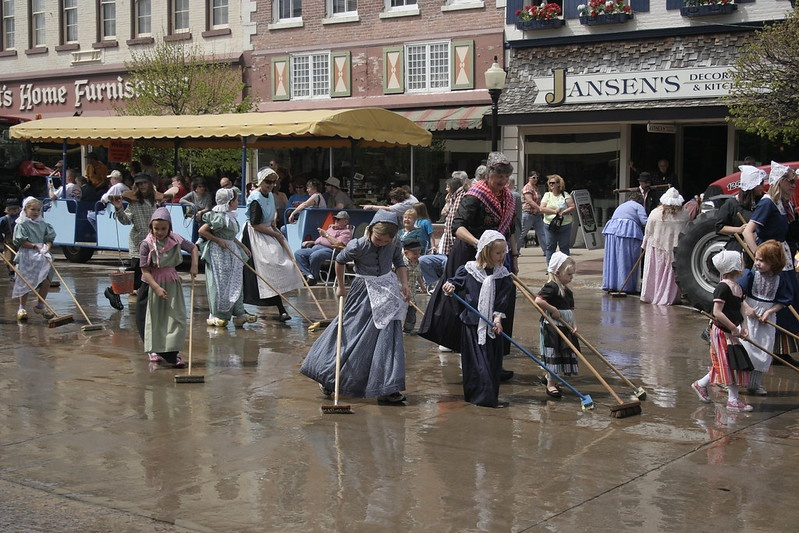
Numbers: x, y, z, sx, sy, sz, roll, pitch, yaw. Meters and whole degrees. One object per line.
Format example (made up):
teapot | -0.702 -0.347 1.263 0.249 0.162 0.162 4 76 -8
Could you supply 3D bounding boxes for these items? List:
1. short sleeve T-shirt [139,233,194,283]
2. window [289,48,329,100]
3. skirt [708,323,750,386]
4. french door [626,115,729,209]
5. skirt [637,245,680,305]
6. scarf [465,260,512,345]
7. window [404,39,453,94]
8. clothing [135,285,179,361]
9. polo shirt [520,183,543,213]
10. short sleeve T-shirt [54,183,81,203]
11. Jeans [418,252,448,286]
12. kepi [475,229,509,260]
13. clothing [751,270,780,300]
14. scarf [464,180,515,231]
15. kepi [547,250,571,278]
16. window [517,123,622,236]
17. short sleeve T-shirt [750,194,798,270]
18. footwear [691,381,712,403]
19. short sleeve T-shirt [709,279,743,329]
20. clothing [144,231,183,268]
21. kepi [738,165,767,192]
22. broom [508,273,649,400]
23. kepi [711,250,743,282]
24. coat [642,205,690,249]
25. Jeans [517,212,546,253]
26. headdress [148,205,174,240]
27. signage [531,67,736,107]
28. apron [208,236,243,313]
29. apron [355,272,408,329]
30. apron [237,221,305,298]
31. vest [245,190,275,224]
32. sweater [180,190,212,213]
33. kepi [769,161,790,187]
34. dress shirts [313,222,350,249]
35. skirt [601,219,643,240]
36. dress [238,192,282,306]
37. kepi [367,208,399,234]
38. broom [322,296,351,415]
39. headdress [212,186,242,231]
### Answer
short sleeve T-shirt | -2.878 -0.158 13.205 0.727 0.641 0.338 -5 -3 -26
window | -2.392 -5.306 28.959 1.335 1.211 0.063 2 5 31
skirt | 3.677 0.999 11.808 0.470 0.668 0.312 5 13 20
french door | 6.378 -2.824 25.481 3.052 2.626 1.545 0 0 23
skirt | 4.208 0.094 17.387 0.530 0.974 0.313 6 3 6
scarf | 0.980 0.364 11.888 0.543 0.841 0.386 -5 18 -34
window | 0.800 -5.187 27.037 1.600 1.427 0.157 1 4 34
clothing | -3.227 0.702 13.491 0.295 0.990 0.344 -9 1 2
polo shirt | 2.559 -1.335 20.695 0.526 0.692 0.749 -2 7 9
short sleeve T-shirt | -7.090 -1.602 23.041 0.700 0.371 0.704 -6 12 0
Jeans | 0.521 0.041 17.062 0.476 0.532 0.474 14 2 0
kepi | 0.981 -0.287 11.846 0.255 0.325 0.273 10 37 -43
clothing | 4.311 0.212 12.484 0.330 0.296 0.172 8 5 6
scarf | 1.110 -0.732 12.560 0.672 0.618 0.387 -6 8 -32
kepi | 1.772 -0.040 12.130 0.275 0.253 0.203 -3 7 -19
window | 4.564 -2.036 26.101 3.069 2.612 1.448 -1 0 23
short sleeve T-shirt | 4.716 -0.464 13.126 0.769 0.861 0.503 -11 17 -42
footwear | 3.386 1.419 11.950 0.132 0.309 0.112 -40 12 3
short sleeve T-shirt | 3.714 0.435 11.926 0.397 0.519 0.293 0 12 -1
clothing | -2.899 -0.205 13.135 0.494 0.441 0.283 -9 8 -22
kepi | 4.480 -1.138 13.498 0.282 0.268 0.369 -1 -7 -5
broom | 2.211 0.979 12.567 0.698 0.222 2.105 -20 28 4
kepi | 3.693 -0.027 12.059 0.341 0.263 0.283 -15 11 -1
coat | 4.347 -0.639 17.215 0.713 0.641 0.378 8 -8 19
Jeans | 2.586 -0.649 20.816 0.618 0.912 0.293 7 -34 3
headdress | -2.923 -0.573 13.222 0.346 0.381 0.396 0 3 -3
signage | 5.213 -4.124 24.042 4.562 0.963 0.470 9 15 35
apron | -2.528 0.183 15.397 0.522 1.141 0.351 -5 14 -22
apron | -0.235 0.383 11.970 0.377 0.628 0.547 4 -5 35
apron | -1.888 -0.041 15.841 0.792 1.170 0.482 -29 3 -26
vest | -2.044 -0.925 15.833 0.257 0.451 0.496 21 18 22
sweater | -3.911 -1.292 20.957 0.469 0.517 0.573 0 -4 43
kepi | 4.726 -1.172 13.201 0.264 0.284 0.299 -8 13 -26
dress shirts | -1.050 -0.585 18.789 0.469 0.219 0.535 20 36 36
skirt | 3.894 -0.613 18.370 0.638 0.270 0.396 9 -15 24
dress | -2.095 -0.280 16.027 0.566 1.612 0.725 1 15 1
kepi | -0.160 -0.530 11.942 0.253 0.289 0.319 -4 -32 17
broom | -0.686 0.975 11.684 0.329 1.182 0.688 0 12 -3
headdress | -2.556 -0.857 15.416 0.462 0.575 0.422 0 13 16
